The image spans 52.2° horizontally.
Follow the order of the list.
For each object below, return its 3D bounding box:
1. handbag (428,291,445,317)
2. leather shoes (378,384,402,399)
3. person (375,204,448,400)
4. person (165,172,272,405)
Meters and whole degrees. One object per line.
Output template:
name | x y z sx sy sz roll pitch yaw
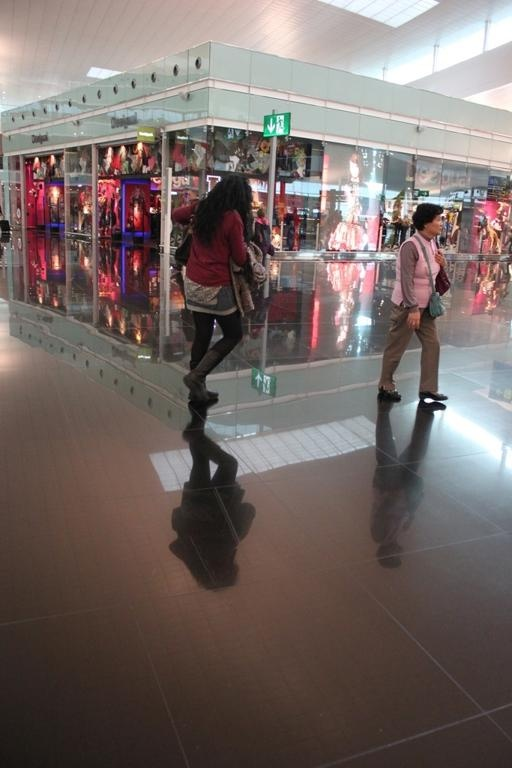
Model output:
handbag | 1.433 -0.642 4.192 0.093 0.200 0.195 -3 9 6
leather shoes | 1.076 0.065 4.254 0.084 0.101 0.230 -3 5 -16
person | 1.314 -0.539 4.223 0.568 1.331 0.512 5 13 5
person | -0.288 -0.679 3.849 0.676 1.627 0.525 3 12 -3
